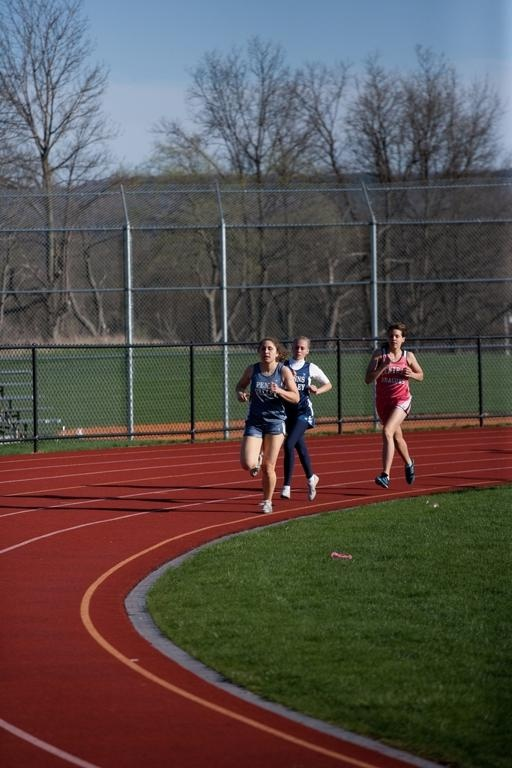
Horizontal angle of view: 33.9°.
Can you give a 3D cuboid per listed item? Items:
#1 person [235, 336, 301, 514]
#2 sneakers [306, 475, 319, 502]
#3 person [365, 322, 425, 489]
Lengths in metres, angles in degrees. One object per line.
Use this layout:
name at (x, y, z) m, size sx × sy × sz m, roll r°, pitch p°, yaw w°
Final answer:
person at (0.130, 0.459, 8.596) m, size 0.632 × 1.818 × 0.902 m, roll -3°, pitch 3°, yaw -1°
sneakers at (0.606, 1.189, 9.265) m, size 0.142 × 0.315 × 0.109 m, roll -13°, pitch 19°, yaw -44°
person at (1.550, 0.266, 9.407) m, size 0.565 × 1.844 × 0.692 m, roll -2°, pitch 3°, yaw 16°
